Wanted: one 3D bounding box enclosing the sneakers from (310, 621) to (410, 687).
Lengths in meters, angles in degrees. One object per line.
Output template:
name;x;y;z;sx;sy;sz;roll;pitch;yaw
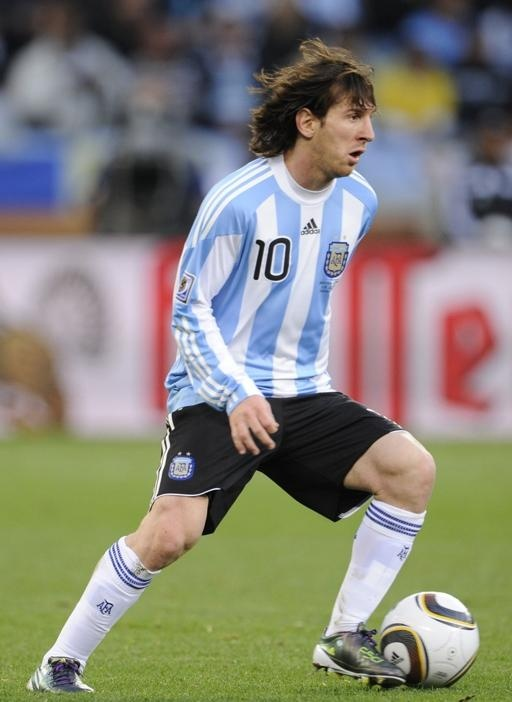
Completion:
sneakers;0.275;0.837;2.575;0.301;0.133;0.102;8;-7;28

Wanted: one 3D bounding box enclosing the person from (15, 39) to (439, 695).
person;-0.038;-0.038;2.533;1.015;1.886;0.507;-4;-6;-13

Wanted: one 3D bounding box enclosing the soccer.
soccer;0.482;0.805;2.607;0.317;0.259;0.279;5;8;16

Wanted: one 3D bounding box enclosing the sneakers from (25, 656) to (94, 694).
sneakers;-0.506;0.831;2.378;0.139;0.091;0.154;-2;-6;-26
